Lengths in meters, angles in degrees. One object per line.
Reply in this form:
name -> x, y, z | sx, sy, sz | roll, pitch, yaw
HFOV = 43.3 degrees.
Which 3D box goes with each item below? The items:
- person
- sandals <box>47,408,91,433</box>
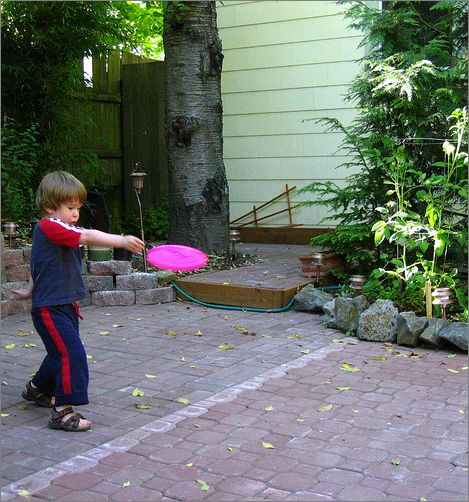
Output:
person -> -0.922, 0.282, 3.365 | 0.520, 1.466, 0.801 | -7, 13, -27
sandals -> -0.944, 0.948, 3.314 | 0.275, 0.109, 0.110 | 2, 3, 5
